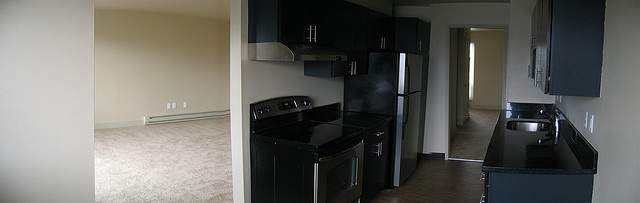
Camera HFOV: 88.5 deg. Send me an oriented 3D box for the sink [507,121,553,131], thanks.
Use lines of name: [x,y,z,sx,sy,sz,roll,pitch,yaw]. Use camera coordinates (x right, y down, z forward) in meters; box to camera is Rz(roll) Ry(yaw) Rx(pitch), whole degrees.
sink: [5.758,0.681,9.113,1.209,0.246,0.293,1,9,7]
